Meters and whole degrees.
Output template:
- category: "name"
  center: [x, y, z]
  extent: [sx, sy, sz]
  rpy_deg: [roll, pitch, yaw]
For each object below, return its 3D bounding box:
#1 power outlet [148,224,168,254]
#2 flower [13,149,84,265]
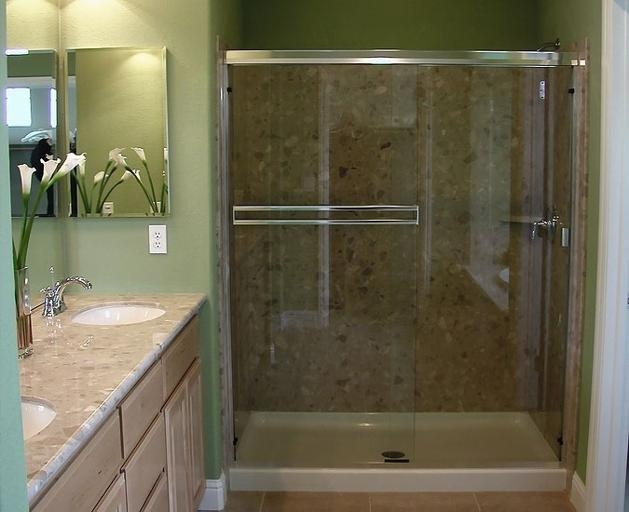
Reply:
- category: "power outlet"
  center: [-0.718, -0.086, 2.606]
  extent: [0.111, 0.214, 0.023]
  rpy_deg: [0, 1, -5]
- category: "flower"
  center: [-1.094, -0.217, 2.318]
  extent: [0.227, 0.489, 0.319]
  rpy_deg: [12, 30, -23]
